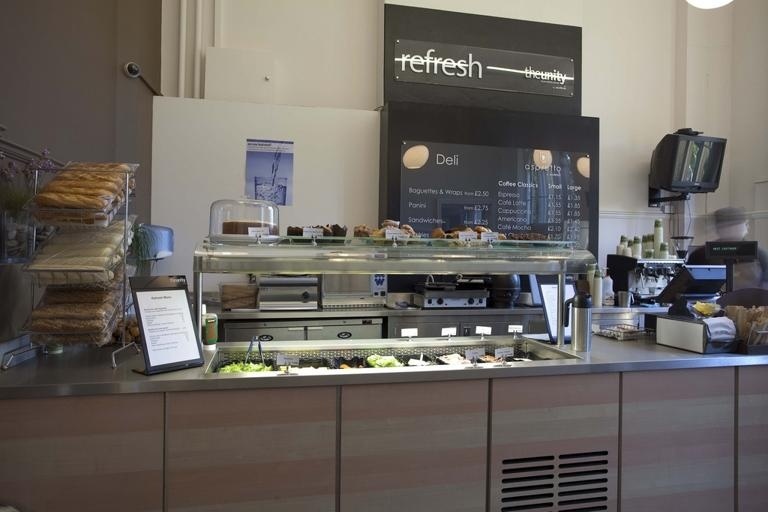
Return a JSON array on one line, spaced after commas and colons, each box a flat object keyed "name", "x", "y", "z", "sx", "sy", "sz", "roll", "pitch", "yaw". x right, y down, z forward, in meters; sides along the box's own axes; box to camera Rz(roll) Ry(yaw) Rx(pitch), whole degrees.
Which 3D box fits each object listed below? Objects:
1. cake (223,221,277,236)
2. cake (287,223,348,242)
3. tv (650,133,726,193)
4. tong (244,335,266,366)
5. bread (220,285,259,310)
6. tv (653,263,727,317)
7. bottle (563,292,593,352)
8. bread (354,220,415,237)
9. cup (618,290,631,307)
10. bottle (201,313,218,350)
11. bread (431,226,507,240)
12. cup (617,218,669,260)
[{"name": "cake", "x": -0.833, "y": -0.180, "z": 3.964, "sx": 0.402, "sy": 0.091, "sz": 0.321, "roll": -3, "pitch": 4, "yaw": -32}, {"name": "cake", "x": -0.434, "y": -0.143, "z": 3.976, "sx": 0.367, "sy": 0.106, "sz": 0.358, "roll": -2, "pitch": 3, "yaw": -7}, {"name": "tv", "x": 3.307, "y": -1.035, "z": 6.810, "sx": 0.636, "sy": 0.591, "sz": 0.513, "roll": 1, "pitch": 9, "yaw": -8}, {"name": "tong", "x": -0.834, "y": 0.607, "z": 4.001, "sx": 0.117, "sy": 0.181, "sz": 0.046, "roll": 1, "pitch": -5, "yaw": -5}, {"name": "bread", "x": -1.250, "y": 0.351, "z": 5.335, "sx": 0.257, "sy": 0.149, "sz": 0.245, "roll": 0, "pitch": -4, "yaw": -17}, {"name": "tv", "x": 2.890, "y": 0.297, "z": 5.784, "sx": 0.602, "sy": 0.274, "sz": 0.270, "roll": 1, "pitch": -18, "yaw": -35}, {"name": "bottle", "x": 1.296, "y": 0.426, "z": 4.130, "sx": 0.167, "sy": 0.388, "sz": 0.259, "roll": -1, "pitch": 3, "yaw": 16}, {"name": "bread", "x": -0.005, "y": -0.174, "z": 4.072, "sx": 0.390, "sy": 0.107, "sz": 0.393, "roll": -1, "pitch": 3, "yaw": -3}, {"name": "cup", "x": 2.362, "y": 0.422, "z": 6.094, "sx": 0.116, "sy": 0.149, "sz": 0.196, "roll": 0, "pitch": 3, "yaw": 18}, {"name": "bottle", "x": -1.132, "y": 0.484, "z": 4.009, "sx": 0.086, "sy": 0.208, "sz": 0.182, "roll": -2, "pitch": 3, "yaw": -20}, {"name": "bread", "x": 0.568, "y": -0.148, "z": 4.080, "sx": 0.476, "sy": 0.082, "sz": 0.208, "roll": -1, "pitch": 3, "yaw": 6}, {"name": "cup", "x": 2.659, "y": -0.139, "z": 6.487, "sx": 0.495, "sy": 0.445, "sz": 0.466, "roll": 0, "pitch": -5, "yaw": 0}]
